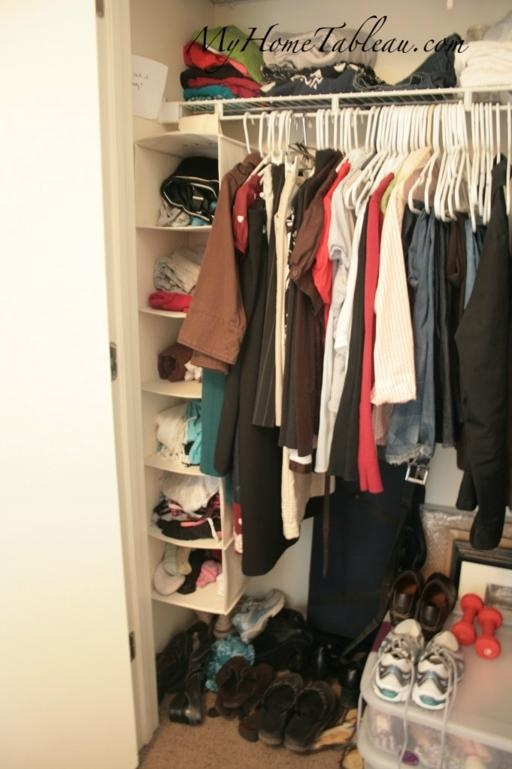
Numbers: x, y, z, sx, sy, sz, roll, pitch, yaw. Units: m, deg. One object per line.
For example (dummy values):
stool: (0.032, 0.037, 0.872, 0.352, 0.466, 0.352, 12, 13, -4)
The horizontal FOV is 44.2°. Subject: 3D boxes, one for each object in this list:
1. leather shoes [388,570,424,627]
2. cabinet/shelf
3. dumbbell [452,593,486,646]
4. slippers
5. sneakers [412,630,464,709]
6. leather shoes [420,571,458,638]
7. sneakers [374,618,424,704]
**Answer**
leather shoes: (0.465, 0.666, 1.973, 0.068, 0.077, 0.194, 0, 38, 19)
cabinet/shelf: (-0.183, 0.138, 2.045, 0.345, 1.772, 0.730, -5, 12, -17)
dumbbell: (0.632, 0.701, 1.875, 0.087, 0.094, 0.199, 6, 13, 20)
slippers: (0.024, 0.893, 2.123, 0.331, 0.144, 0.465, 1, 16, 16)
sneakers: (0.491, 0.749, 1.694, 0.077, 0.085, 0.217, 2, 22, 15)
leather shoes: (0.546, 0.661, 1.914, 0.074, 0.084, 0.213, 2, 31, 20)
sneakers: (0.388, 0.745, 1.734, 0.078, 0.083, 0.226, 2, 23, 13)
